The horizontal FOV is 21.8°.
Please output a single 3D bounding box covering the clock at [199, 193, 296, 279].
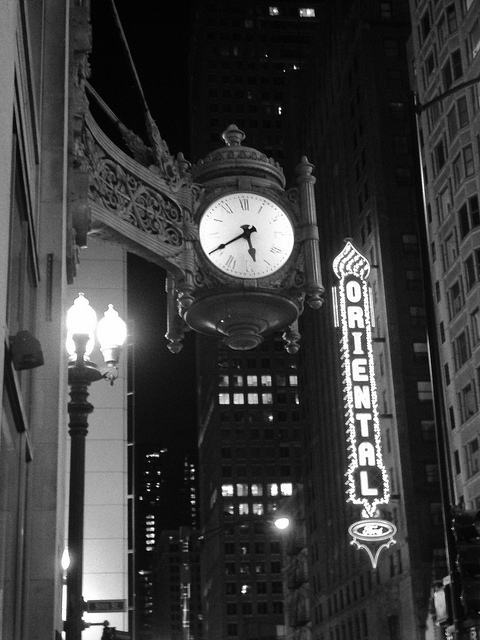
[{"bbox_3d":[0.039,-0.900,13.849,0.813,0.872,0.078,14,-32,-15],"label":"clock"}]
